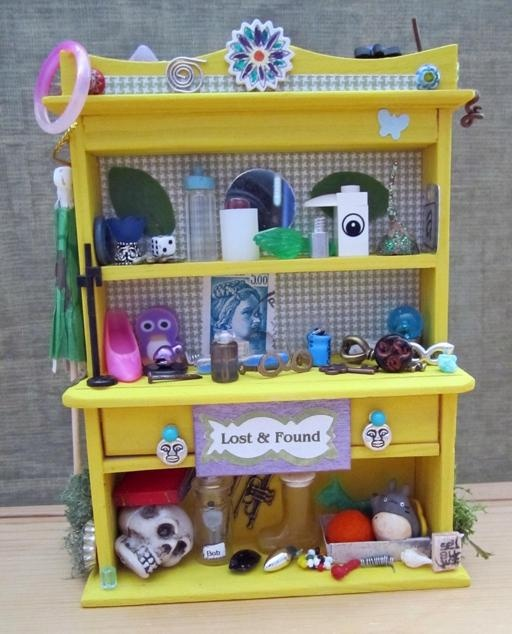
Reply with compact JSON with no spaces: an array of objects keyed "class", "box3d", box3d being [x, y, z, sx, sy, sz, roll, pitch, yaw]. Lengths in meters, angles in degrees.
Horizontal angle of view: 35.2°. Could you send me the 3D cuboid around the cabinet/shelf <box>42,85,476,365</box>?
[{"class":"cabinet/shelf","box3d":[-0.006,-0.224,1.944,0.841,0.500,0.245,-2,10,-3]}]
